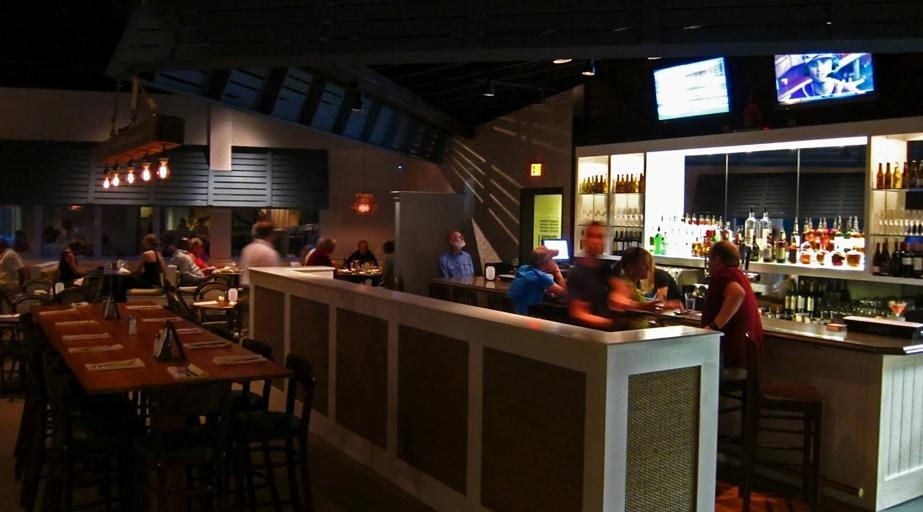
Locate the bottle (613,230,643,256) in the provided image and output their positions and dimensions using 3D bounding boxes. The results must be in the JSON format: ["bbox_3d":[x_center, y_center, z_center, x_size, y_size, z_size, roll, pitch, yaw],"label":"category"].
[{"bbox_3d":[2.380,-0.191,9.700,0.416,0.343,0.136,-2,-9,31],"label":"bottle"}]

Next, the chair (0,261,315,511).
[{"bbox_3d":[-3.509,1.569,7.087,3.429,1.922,1.711,6,6,42],"label":"chair"}]

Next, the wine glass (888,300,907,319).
[{"bbox_3d":[4.972,0.607,7.784,0.217,0.201,0.202,0,-5,4],"label":"wine glass"}]

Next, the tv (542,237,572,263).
[{"bbox_3d":[1.544,-0.132,11.322,0.529,0.396,0.461,2,11,2],"label":"tv"}]

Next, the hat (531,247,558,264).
[{"bbox_3d":[1.062,-0.010,8.760,0.293,0.186,0.395,2,4,42],"label":"hat"}]

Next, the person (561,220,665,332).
[{"bbox_3d":[1.719,0.228,7.575,1.096,1.013,0.726,2,10,15],"label":"person"}]

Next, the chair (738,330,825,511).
[{"bbox_3d":[3.359,1.703,7.162,0.904,1.751,0.855,3,4,8],"label":"chair"}]

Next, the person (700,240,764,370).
[{"bbox_3d":[2.872,0.531,7.210,0.582,1.322,0.336,4,5,25],"label":"person"}]

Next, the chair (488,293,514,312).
[{"bbox_3d":[0.512,0.629,9.029,0.265,0.366,0.238,-3,5,-33],"label":"chair"}]

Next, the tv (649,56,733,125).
[{"bbox_3d":[3.230,-2.291,9.451,0.047,0.748,1.185,-2,1,-41],"label":"tv"}]

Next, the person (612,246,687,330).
[{"bbox_3d":[2.213,0.408,7.991,0.624,1.022,0.515,-21,21,14],"label":"person"}]

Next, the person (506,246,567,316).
[{"bbox_3d":[1.042,0.320,8.814,0.572,0.855,0.940,5,5,32],"label":"person"}]

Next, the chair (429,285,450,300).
[{"bbox_3d":[-0.327,0.563,10.392,0.134,0.218,0.252,-9,10,-36],"label":"chair"}]

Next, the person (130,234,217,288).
[{"bbox_3d":[-5.692,0.189,13.475,1.478,0.751,1.348,0,1,-8],"label":"person"}]

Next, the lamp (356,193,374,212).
[{"bbox_3d":[-2.037,-1.121,14.533,0.432,0.423,0.398,0,5,8],"label":"lamp"}]

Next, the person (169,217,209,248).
[{"bbox_3d":[-6.114,-0.504,15.427,0.885,0.683,0.196,3,-2,-9],"label":"person"}]
